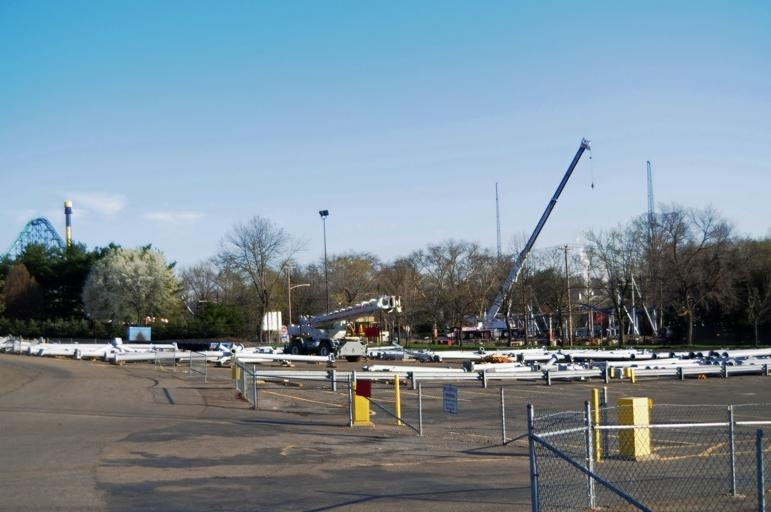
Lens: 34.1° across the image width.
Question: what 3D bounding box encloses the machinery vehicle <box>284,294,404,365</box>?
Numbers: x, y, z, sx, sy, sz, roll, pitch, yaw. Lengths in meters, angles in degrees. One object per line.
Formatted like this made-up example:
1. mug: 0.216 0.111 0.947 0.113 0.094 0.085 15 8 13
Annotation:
1. machinery vehicle: -2.883 6.008 99.673 6.589 4.462 13.897 5 -11 -41
